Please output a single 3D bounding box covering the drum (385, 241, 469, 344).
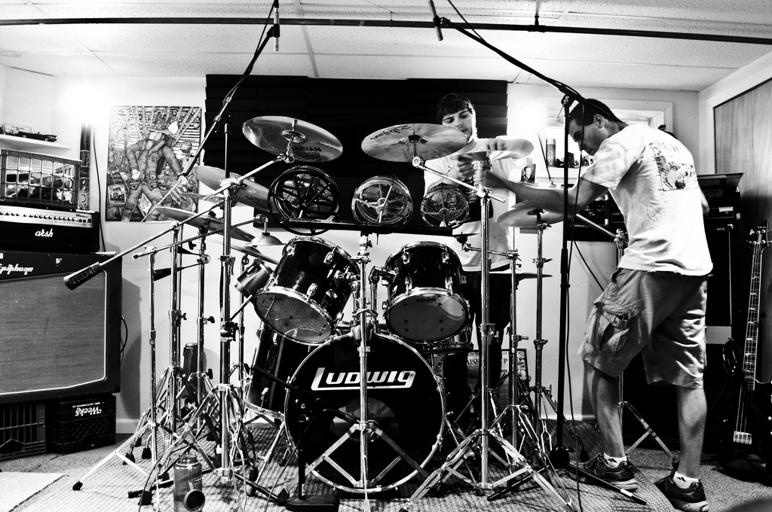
[{"bbox_3d":[0.190,0.295,6.469,0.720,0.574,0.718,-14,-24,-7],"label":"drum"}]

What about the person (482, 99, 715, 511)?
[{"bbox_3d":[1.842,0.363,6.172,1.288,2.704,0.637,4,2,12],"label":"person"}]

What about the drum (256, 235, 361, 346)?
[{"bbox_3d":[-0.686,0.084,6.452,0.613,0.561,0.644,18,-4,45],"label":"drum"}]

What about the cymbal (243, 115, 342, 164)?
[{"bbox_3d":[-0.732,-0.951,6.440,0.697,0.292,0.732,1,-16,21],"label":"cymbal"}]

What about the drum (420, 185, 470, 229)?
[{"bbox_3d":[0.487,-0.422,6.841,0.396,0.369,0.400,-2,-43,3],"label":"drum"}]

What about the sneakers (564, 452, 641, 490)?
[{"bbox_3d":[1.703,1.609,6.369,0.610,0.279,0.251,2,0,36],"label":"sneakers"}]

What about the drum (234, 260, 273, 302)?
[{"bbox_3d":[-1.135,0.128,6.753,0.252,0.265,0.235,21,15,-35],"label":"drum"}]

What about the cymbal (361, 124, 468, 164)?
[{"bbox_3d":[0.215,-0.884,6.342,0.780,0.111,0.809,-6,-12,14],"label":"cymbal"}]

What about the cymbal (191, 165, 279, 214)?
[{"bbox_3d":[-1.294,-0.584,6.964,0.497,0.182,0.440,22,-4,16],"label":"cymbal"}]

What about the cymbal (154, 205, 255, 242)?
[{"bbox_3d":[-1.505,-0.281,6.647,0.455,0.090,0.435,17,-9,28],"label":"cymbal"}]
